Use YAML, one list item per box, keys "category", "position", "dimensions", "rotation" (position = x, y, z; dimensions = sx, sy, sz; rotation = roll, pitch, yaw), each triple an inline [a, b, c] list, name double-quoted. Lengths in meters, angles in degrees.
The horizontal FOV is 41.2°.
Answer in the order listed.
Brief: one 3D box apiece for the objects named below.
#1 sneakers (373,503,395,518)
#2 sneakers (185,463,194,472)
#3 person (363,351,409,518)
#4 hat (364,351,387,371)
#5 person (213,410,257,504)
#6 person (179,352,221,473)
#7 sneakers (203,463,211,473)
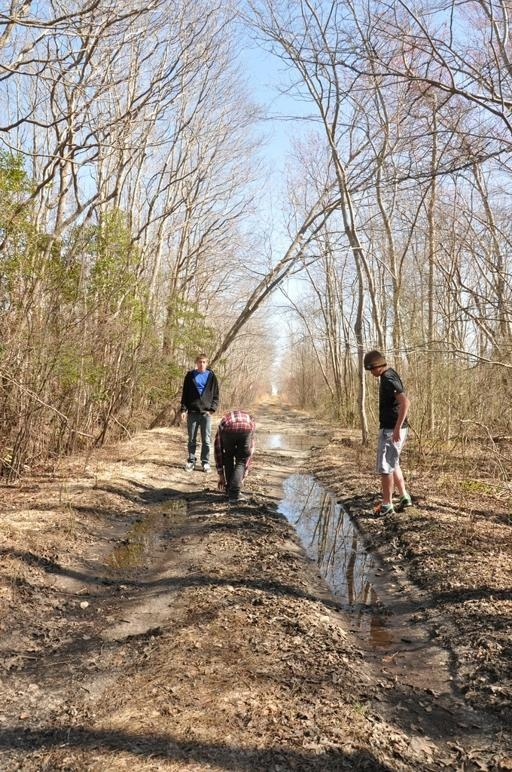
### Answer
- category: "sneakers"
  position: [1.532, 1.504, 8.196]
  dimensions: [0.313, 0.154, 0.109]
  rotation: [-8, -7, 42]
- category: "sneakers"
  position: [-1.116, 1.368, 11.460]
  dimensions: [0.096, 0.130, 0.183]
  rotation: [3, 1, -1]
- category: "person"
  position: [1.525, 0.603, 7.825]
  dimensions: [0.553, 2.009, 1.103]
  rotation: [2, 5, 13]
- category: "hat"
  position: [1.317, -0.272, 7.534]
  dimensions: [0.231, 0.231, 0.309]
  rotation: [2, 4, 9]
- category: "person"
  position: [-0.274, 0.910, 8.609]
  dimensions: [0.478, 1.219, 0.799]
  rotation: [1, 4, -2]
- category: "person"
  position: [-0.930, 0.494, 11.132]
  dimensions: [0.568, 2.025, 0.932]
  rotation: [0, 5, -6]
- category: "sneakers"
  position: [-0.844, 1.415, 11.725]
  dimensions: [0.086, 0.098, 0.154]
  rotation: [-3, 2, -9]
